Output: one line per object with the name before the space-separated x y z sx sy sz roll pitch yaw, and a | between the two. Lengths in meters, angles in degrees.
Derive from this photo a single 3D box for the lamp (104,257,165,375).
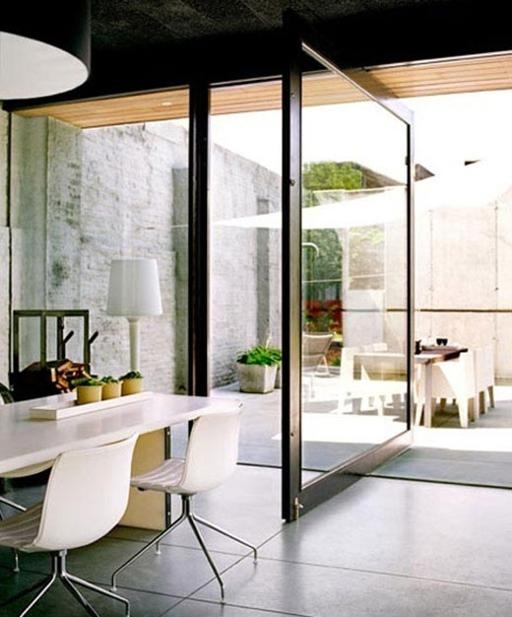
lamp | -0.671 0.018 3.387 0.278 0.604 0.489 0 -1 -1

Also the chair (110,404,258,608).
chair | -0.228 0.739 2.814 0.627 0.945 0.633 2 -1 17

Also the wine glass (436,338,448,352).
wine glass | 1.955 0.371 6.765 0.140 0.108 0.093 3 4 25

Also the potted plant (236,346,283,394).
potted plant | 0.048 0.385 4.569 0.297 0.367 0.363 1 1 27
